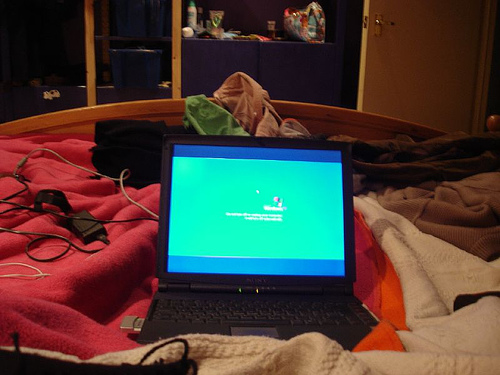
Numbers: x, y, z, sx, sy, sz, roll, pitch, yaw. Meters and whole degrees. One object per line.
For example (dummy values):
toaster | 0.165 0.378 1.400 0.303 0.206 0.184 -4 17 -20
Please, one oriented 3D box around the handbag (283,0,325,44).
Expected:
handbag | 0.395 -1.133 2.907 0.302 0.311 0.251 -1 17 19

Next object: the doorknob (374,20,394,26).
doorknob | 0.982 -1.210 3.059 0.100 0.057 0.061 0 21 -10

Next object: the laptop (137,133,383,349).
laptop | 0.017 0.088 0.909 0.573 0.394 0.520 3 5 12

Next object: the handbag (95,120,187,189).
handbag | -0.439 -0.148 1.617 0.294 0.327 0.095 1 -13 -2

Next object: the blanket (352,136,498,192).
blanket | 0.695 -0.086 1.602 0.450 0.132 0.313 -10 9 -2
